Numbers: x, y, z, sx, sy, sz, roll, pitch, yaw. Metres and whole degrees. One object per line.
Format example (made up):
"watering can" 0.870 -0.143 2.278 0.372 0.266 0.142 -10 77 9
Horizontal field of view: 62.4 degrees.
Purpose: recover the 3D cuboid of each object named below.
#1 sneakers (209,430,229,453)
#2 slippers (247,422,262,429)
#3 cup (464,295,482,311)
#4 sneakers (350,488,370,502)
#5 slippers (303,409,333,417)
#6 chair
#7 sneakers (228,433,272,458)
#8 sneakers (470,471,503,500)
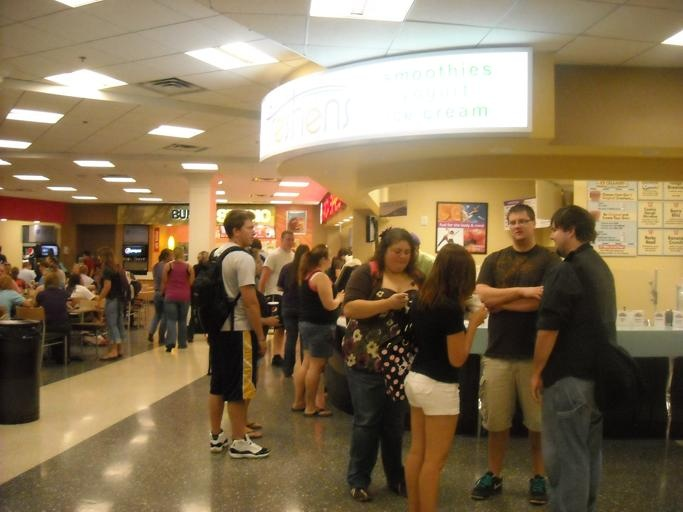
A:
"sneakers" -1.069 1.618 4.937 0.092 0.116 0.252 -1 -4 4
"slippers" -0.839 1.639 5.466 0.137 0.034 0.052 1 -1 13
"cup" 0.919 0.311 3.856 0.141 0.137 0.111 -1 1 2
"sneakers" 0.148 1.758 4.149 0.071 0.058 0.137 3 -8 -21
"slippers" -0.231 1.602 5.823 0.256 0.062 0.097 1 -1 -10
"chair" -4.316 1.021 8.759 1.359 0.667 1.384 -1 0 17
"sneakers" -0.804 1.636 4.877 0.414 0.202 0.143 1 -4 -4
"sneakers" 1.107 1.741 4.257 0.111 0.146 0.322 -9 -15 36
